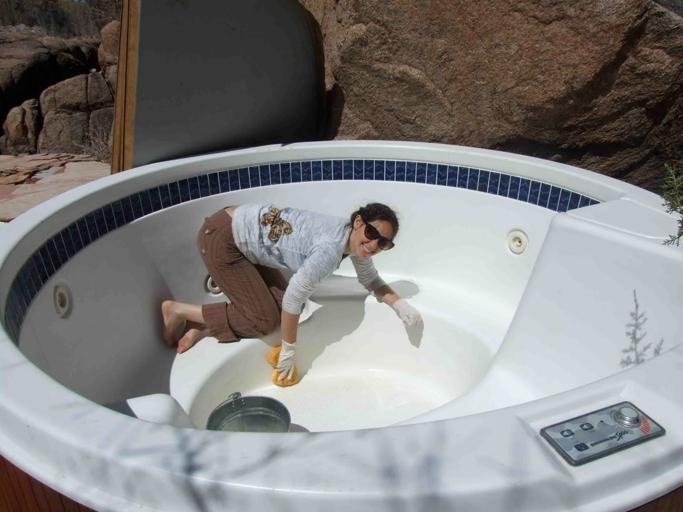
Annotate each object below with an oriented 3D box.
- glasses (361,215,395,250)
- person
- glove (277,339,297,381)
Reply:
[{"bbox_3d":[0.153,-0.124,1.994,0.038,0.127,0.123,-41,43,1],"label":"glasses"},{"bbox_3d":[-0.219,0.020,2.290,1.091,0.842,0.600,6,26,-2],"label":"person"},{"bbox_3d":[-0.227,0.417,2.021,0.063,0.138,0.140,9,70,5],"label":"glove"}]
